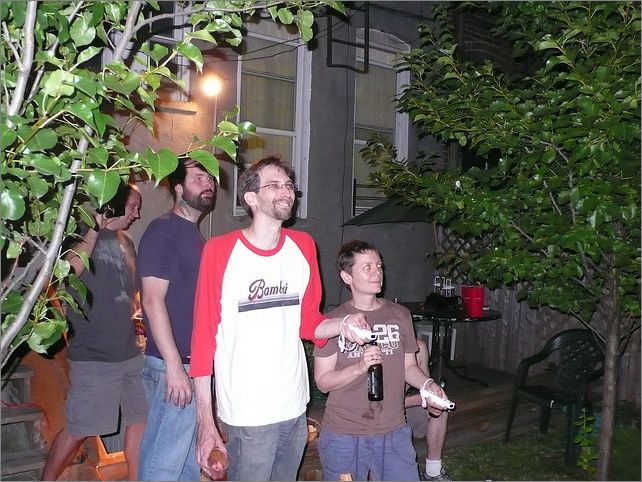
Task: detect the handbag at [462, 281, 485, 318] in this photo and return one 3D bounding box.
[{"bbox_3d":[2.138,0.781,7.255,0.345,0.626,0.609,-1,-2,7],"label":"handbag"}]

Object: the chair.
[{"bbox_3d":[2.781,1.792,5.923,0.910,1.415,0.971,3,5,-13],"label":"chair"}]

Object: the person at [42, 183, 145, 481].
[{"bbox_3d":[-1.862,0.756,4.286,0.750,2.441,0.702,1,7,-20],"label":"person"}]

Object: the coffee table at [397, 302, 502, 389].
[{"bbox_3d":[1.810,1.582,7.604,1.243,0.928,1.236,10,-10,-34],"label":"coffee table"}]
